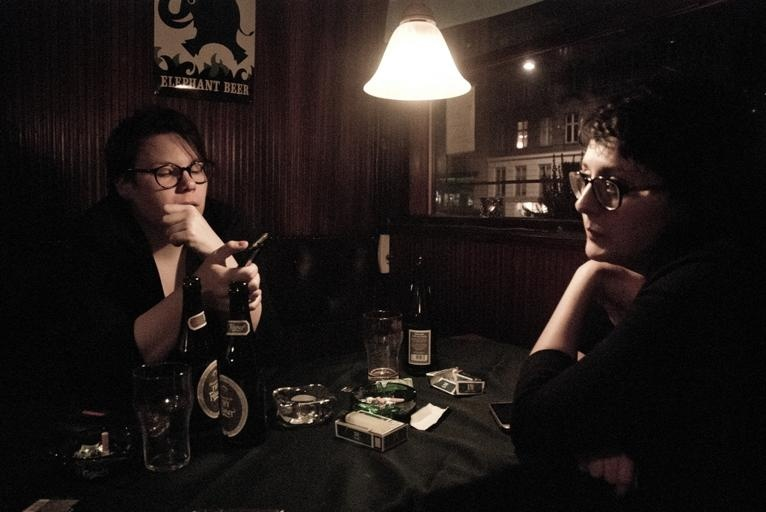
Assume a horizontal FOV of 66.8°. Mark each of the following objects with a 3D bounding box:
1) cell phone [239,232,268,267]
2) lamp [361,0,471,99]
[{"bbox_3d":[-0.561,-0.026,2.488,0.057,0.047,0.230,20,-48,-42],"label":"cell phone"},{"bbox_3d":[0.116,-0.779,2.412,0.405,0.411,0.409,-1,8,-10],"label":"lamp"}]
